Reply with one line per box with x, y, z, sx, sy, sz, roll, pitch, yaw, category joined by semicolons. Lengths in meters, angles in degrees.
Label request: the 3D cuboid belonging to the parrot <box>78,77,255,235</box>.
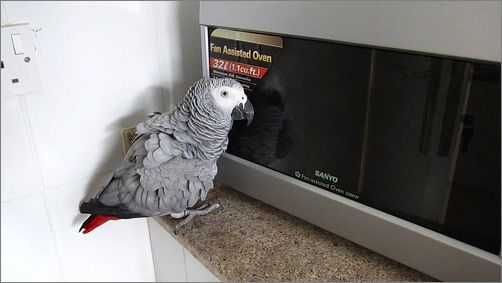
-0.317;0.051;1.196;0.585;0.529;0.318;-3;34;-10;parrot
